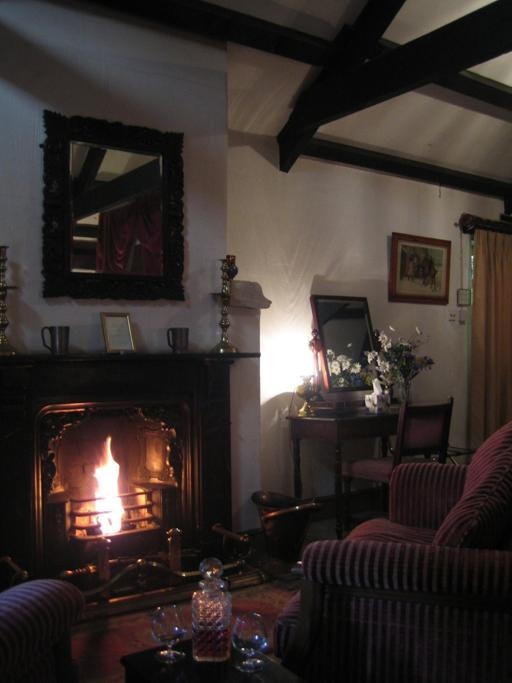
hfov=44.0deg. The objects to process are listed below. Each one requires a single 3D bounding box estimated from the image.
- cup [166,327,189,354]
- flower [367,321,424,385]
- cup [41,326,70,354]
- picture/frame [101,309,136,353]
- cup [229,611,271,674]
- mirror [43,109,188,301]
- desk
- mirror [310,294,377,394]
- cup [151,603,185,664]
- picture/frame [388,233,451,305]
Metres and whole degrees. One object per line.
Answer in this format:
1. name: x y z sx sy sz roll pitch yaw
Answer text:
1. cup: -0.361 -0.002 3.059 0.119 0.139 0.080 -1 2 3
2. flower: 0.988 0.112 4.502 0.391 0.527 0.439 -7 5 10
3. cup: -0.854 -0.003 2.701 0.117 0.134 0.154 -2 -4 -19
4. picture/frame: -0.633 -0.045 2.872 0.024 0.256 0.182 -24 -18 38
5. cup: -0.014 0.705 1.491 0.090 0.155 0.096 0 -4 0
6. mirror: -0.669 -0.616 2.894 0.824 1.058 0.072 2 -4 -38
7. desk: 0.666 0.795 4.044 0.880 0.700 0.359 1 -1 -43
8. mirror: 0.586 0.036 4.389 0.600 0.795 0.051 7 -19 -43
9. cup: -0.199 0.677 1.487 0.073 0.128 0.075 3 6 0
10. picture/frame: 1.305 -0.560 5.058 0.752 0.534 0.092 -1 -4 -38
